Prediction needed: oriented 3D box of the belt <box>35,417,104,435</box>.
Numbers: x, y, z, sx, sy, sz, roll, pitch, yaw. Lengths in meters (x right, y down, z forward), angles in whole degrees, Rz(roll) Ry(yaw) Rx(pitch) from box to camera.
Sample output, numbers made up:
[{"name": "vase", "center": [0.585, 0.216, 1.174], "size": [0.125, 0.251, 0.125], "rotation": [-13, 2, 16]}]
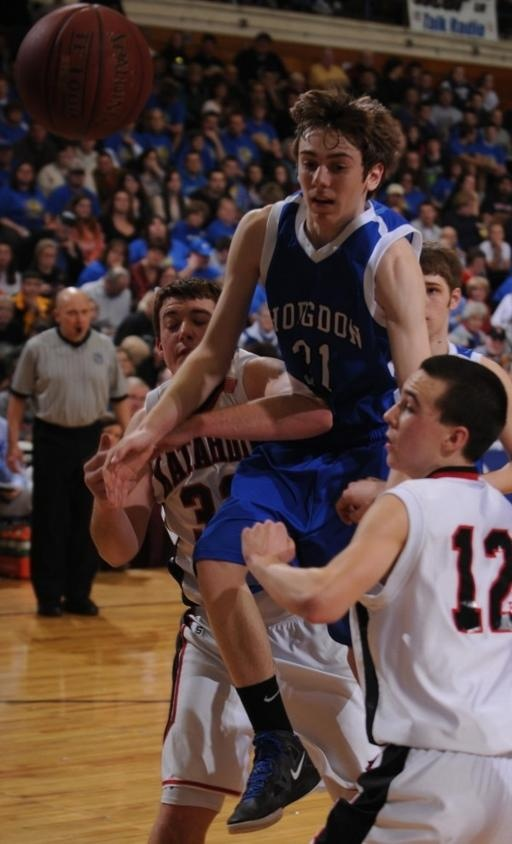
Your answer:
[{"name": "belt", "center": [-0.897, 0.014, 3.734], "size": [0.327, 0.064, 0.111], "rotation": [-1, 17, -28]}]
